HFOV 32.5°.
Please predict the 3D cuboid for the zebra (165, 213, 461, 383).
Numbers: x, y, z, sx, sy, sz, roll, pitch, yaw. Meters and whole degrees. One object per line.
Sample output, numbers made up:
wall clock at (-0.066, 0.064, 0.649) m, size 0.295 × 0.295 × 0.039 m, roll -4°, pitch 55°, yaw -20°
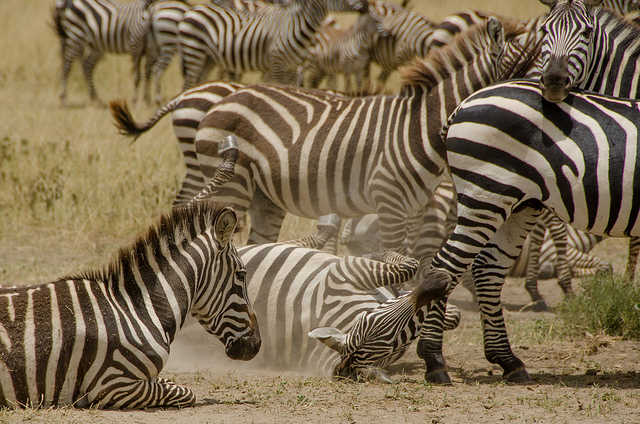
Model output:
zebra at (0.144, 1.042, 12.272) m, size 2.068 × 0.801 × 1.835 m, roll 6°, pitch 28°, yaw 20°
